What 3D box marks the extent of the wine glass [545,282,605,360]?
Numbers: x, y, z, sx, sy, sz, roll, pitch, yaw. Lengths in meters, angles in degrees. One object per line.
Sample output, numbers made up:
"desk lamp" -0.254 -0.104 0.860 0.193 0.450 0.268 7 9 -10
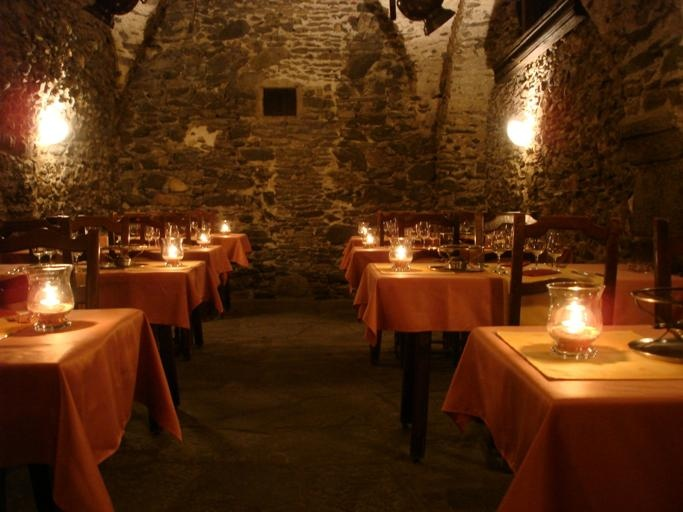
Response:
"wine glass" 0.733 0.190 1.631 0.197 0.269 0.196 1 -1 -43
